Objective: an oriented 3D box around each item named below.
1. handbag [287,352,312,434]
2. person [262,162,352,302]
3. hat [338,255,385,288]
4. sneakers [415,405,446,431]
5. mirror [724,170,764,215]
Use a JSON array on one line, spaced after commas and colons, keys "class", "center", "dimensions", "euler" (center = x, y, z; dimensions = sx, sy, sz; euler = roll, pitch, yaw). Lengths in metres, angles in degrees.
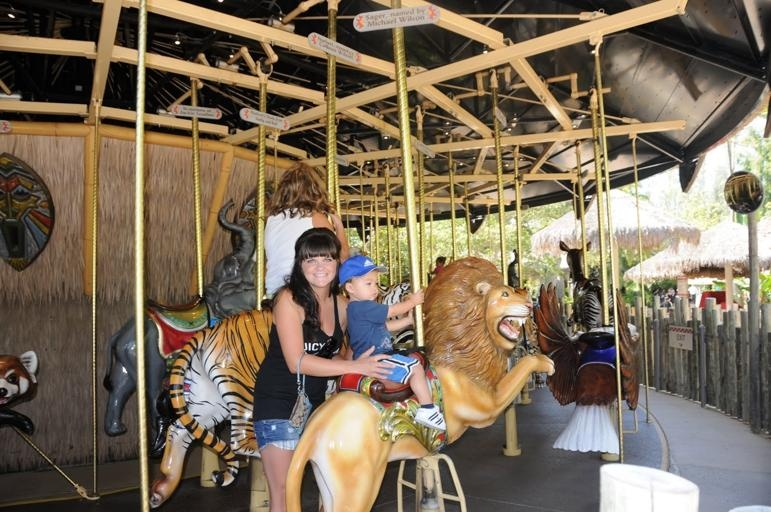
[{"class": "handbag", "center": [-0.717, 1.279, 6.257], "dimensions": [0.094, 0.489, 0.230], "euler": [-4, -3, 43]}, {"class": "person", "center": [-0.777, -0.283, 6.910], "dimensions": [0.748, 1.270, 0.324], "euler": [-1, -2, -10]}, {"class": "hat", "center": [-0.212, 0.125, 6.492], "dimensions": [0.347, 0.196, 0.261], "euler": [-24, -6, 20]}, {"class": "sneakers", "center": [0.401, 1.417, 6.334], "dimensions": [0.368, 0.174, 0.128], "euler": [25, -10, -25]}, {"class": "mirror", "center": [4.942, -0.891, 9.887], "dimensions": [0.433, 0.576, 0.505], "euler": [-1, -2, -8]}]
